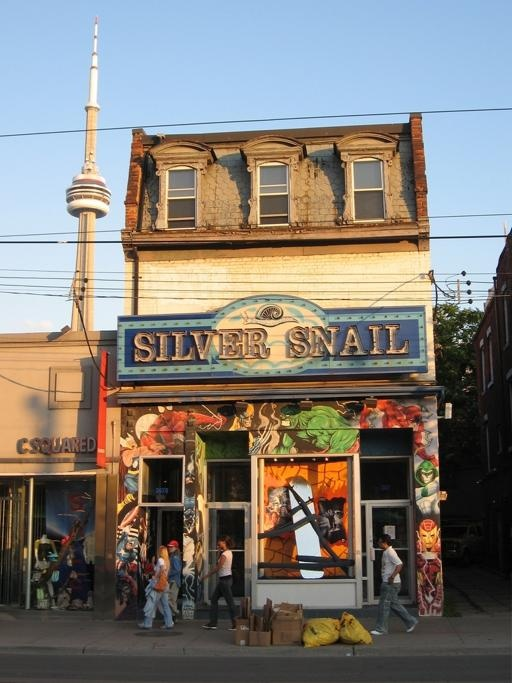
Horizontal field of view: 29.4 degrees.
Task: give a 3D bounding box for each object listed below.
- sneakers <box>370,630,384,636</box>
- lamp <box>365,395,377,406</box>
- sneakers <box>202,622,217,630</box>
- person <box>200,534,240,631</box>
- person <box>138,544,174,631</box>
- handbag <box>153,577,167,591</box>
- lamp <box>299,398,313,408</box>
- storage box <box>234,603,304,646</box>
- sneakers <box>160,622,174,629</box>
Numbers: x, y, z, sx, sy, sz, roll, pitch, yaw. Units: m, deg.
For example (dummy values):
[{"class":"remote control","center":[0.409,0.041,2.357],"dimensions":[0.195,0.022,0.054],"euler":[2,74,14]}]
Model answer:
[{"class":"sneakers","center":[2.047,5.002,16.772],"dimensions":[0.217,0.083,0.243],"euler":[-7,-13,26]},{"class":"lamp","center":[2.345,1.242,20.155],"dimensions":[0.244,0.201,0.309],"euler":[-2,-12,4]},{"class":"sneakers","center":[-0.901,5.339,18.362],"dimensions":[0.296,0.111,0.110],"euler":[-1,-10,31]},{"class":"person","center":[-0.729,4.841,19.503],"dimensions":[1.041,2.309,0.694],"euler":[3,-33,-2]},{"class":"person","center":[-1.897,4.671,18.556],"dimensions":[0.601,1.507,1.152],"euler":[0,-12,-7]},{"class":"handbag","center":[-1.777,4.507,18.126],"dimensions":[0.248,0.257,0.143],"euler":[-1,-12,-3]},{"class":"lamp","center":[1.029,1.311,20.392],"dimensions":[0.265,0.191,0.187],"euler":[-2,-12,0]},{"class":"storage box","center":[0.279,4.772,16.569],"dimensions":[0.880,0.450,0.843],"euler":[1,-10,1]},{"class":"sneakers","center":[-1.678,5.299,18.262],"dimensions":[0.302,0.122,0.102],"euler":[-1,0,44]}]
